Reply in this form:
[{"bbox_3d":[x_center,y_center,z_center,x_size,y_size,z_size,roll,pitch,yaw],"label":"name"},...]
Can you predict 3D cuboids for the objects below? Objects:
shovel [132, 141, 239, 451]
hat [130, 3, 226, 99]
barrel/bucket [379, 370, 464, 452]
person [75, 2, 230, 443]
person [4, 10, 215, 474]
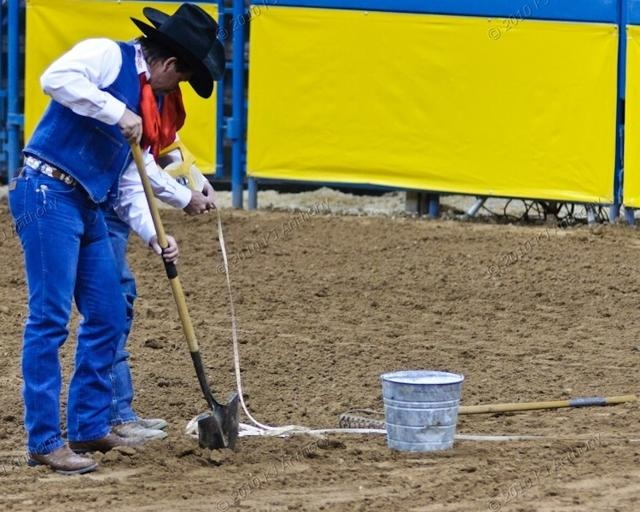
[{"bbox_3d":[-0.961,0.333,13.897,0.556,2.493,0.237,-11,-7,-43],"label":"shovel"},{"bbox_3d":[-0.909,-1.479,13.641,0.722,0.297,0.529,45,-2,12],"label":"hat"},{"bbox_3d":[0.735,1.112,13.780,0.581,0.576,0.308,1,2,1],"label":"barrel/bucket"},{"bbox_3d":[-1.112,-0.098,13.821,0.913,3.160,0.960,-13,25,-35],"label":"person"},{"bbox_3d":[-1.542,-0.129,13.623,1.304,3.307,0.546,0,2,-11],"label":"person"}]
